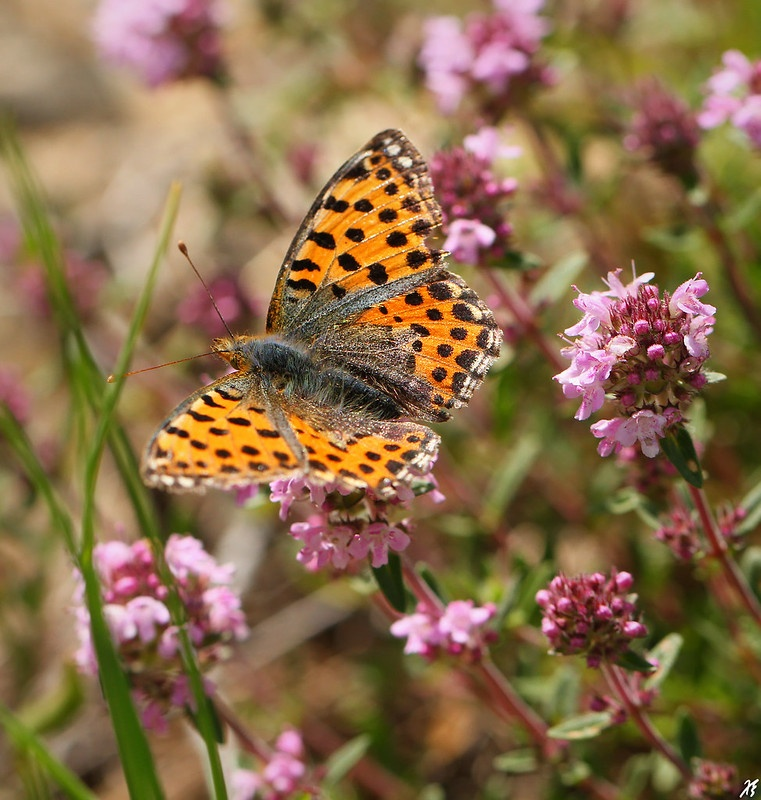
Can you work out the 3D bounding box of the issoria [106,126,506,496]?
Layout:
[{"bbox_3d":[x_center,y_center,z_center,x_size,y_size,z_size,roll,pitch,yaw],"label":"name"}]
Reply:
[{"bbox_3d":[-0.170,-0.158,4.613,1.267,0.519,1.888,17,-66,-40],"label":"issoria"}]
